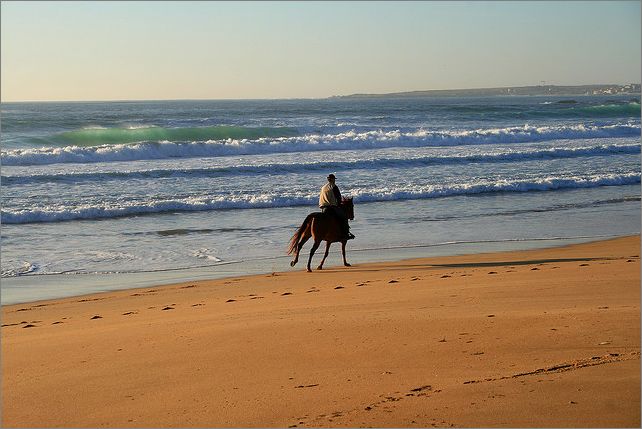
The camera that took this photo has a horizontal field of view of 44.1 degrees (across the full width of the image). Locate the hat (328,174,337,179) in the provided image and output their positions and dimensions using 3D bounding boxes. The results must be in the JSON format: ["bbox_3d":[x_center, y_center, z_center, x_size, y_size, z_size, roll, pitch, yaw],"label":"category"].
[{"bbox_3d":[0.218,-0.829,17.076,0.190,0.076,0.211,2,6,11],"label":"hat"}]

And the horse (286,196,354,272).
[{"bbox_3d":[0.036,0.403,17.604,0.755,1.417,2.702,6,5,31],"label":"horse"}]
